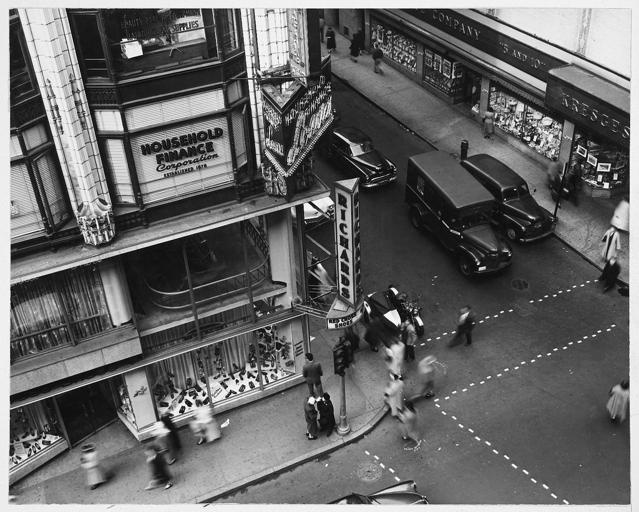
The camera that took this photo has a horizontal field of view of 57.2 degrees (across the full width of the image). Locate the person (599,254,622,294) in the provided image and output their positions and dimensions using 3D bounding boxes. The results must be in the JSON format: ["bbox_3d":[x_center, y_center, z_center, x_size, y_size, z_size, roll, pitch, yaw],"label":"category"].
[{"bbox_3d":[12.916,0.791,26.024,0.320,1.432,1.019,7,-1,-18],"label":"person"}]

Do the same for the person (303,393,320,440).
[{"bbox_3d":[-0.270,5.738,20.886,0.503,1.748,0.509,-4,27,-2],"label":"person"}]

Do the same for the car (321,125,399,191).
[{"bbox_3d":[2.012,-5.394,32.834,2.239,1.791,5.459,-27,55,-18],"label":"car"}]

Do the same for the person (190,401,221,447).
[{"bbox_3d":[-4.283,6.071,21.358,0.986,1.380,0.465,-9,8,-28],"label":"person"}]

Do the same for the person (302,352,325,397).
[{"bbox_3d":[-0.250,4.285,21.068,0.756,2.141,0.687,4,37,12],"label":"person"}]

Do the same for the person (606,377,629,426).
[{"bbox_3d":[10.711,5.116,20.897,0.703,1.803,0.550,11,30,26],"label":"person"}]

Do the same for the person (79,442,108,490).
[{"bbox_3d":[-7.703,7.046,19.817,0.667,1.929,0.654,-21,31,-31],"label":"person"}]
